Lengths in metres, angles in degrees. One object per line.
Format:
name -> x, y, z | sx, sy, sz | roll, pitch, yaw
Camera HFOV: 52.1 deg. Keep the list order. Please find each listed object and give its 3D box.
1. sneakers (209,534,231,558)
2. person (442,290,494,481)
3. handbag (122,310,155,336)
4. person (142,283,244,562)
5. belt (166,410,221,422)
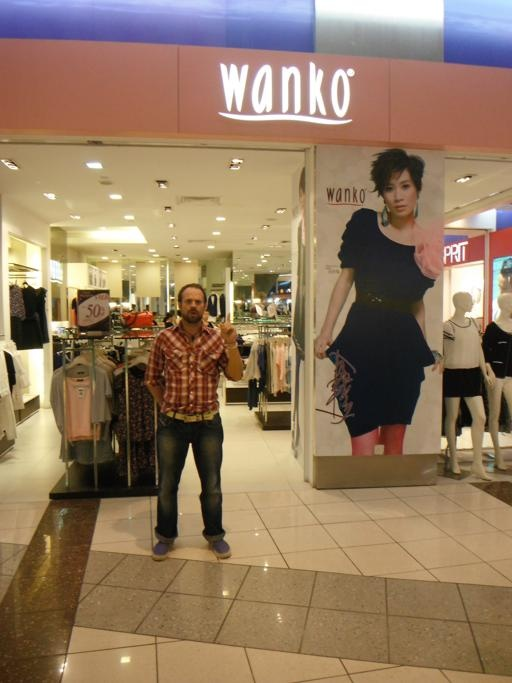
sneakers -> -0.207, 1.178, 2.995 | 0.061, 0.065, 0.164 | 2, -8, -20
person -> 1.883, 0.369, 4.669 | 0.410, 1.616, 0.549 | 0, 5, 24
handbag -> -0.964, -0.147, 4.236 | 0.189, 0.101, 0.237 | 0, -4, -38
person -> -0.350, 0.446, 3.024 | 0.544, 1.543, 0.353 | -2, 4, -10
belt -> -0.351, 0.414, 2.924 | 0.284, 0.068, 0.082 | -3, 5, -15
